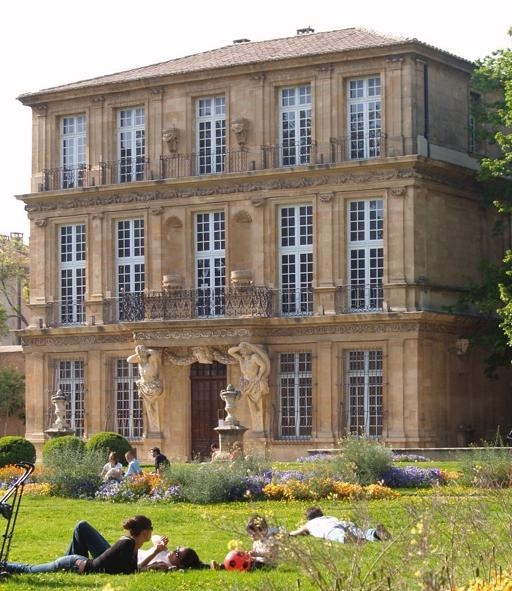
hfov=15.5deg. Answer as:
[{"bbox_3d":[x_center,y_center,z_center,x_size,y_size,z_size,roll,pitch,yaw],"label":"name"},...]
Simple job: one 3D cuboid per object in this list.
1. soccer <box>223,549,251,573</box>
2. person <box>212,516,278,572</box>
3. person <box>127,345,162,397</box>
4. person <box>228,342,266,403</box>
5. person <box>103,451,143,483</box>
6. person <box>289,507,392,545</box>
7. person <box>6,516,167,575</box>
[{"bbox_3d":[-0.275,3.995,27.998,0.346,0.422,0.363,16,-30,-1],"label":"soccer"},{"bbox_3d":[-0.108,3.691,27.610,1.052,0.868,0.512,-5,-1,-18],"label":"person"},{"bbox_3d":[-3.026,2.137,52.069,0.810,1.491,0.577,-3,9,13],"label":"person"},{"bbox_3d":[-0.114,2.103,50.274,0.925,1.685,0.379,-4,9,8],"label":"person"},{"bbox_3d":[-2.836,3.719,39.924,0.694,0.728,0.548,2,-21,0],"label":"person"},{"bbox_3d":[1.114,3.383,28.140,0.771,0.410,1.330,-29,18,-30],"label":"person"},{"bbox_3d":[-2.510,3.740,27.922,1.950,0.956,1.098,-6,8,-4],"label":"person"}]
